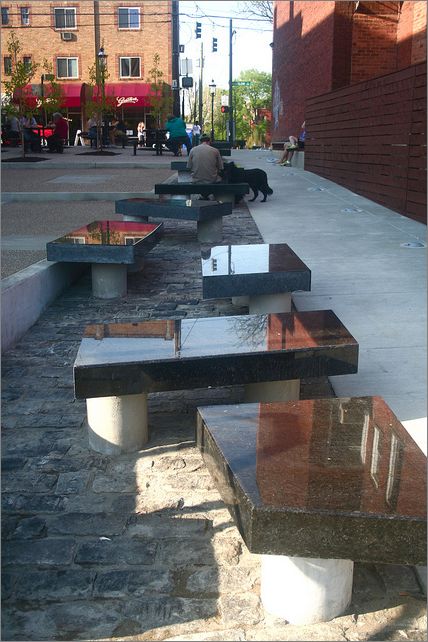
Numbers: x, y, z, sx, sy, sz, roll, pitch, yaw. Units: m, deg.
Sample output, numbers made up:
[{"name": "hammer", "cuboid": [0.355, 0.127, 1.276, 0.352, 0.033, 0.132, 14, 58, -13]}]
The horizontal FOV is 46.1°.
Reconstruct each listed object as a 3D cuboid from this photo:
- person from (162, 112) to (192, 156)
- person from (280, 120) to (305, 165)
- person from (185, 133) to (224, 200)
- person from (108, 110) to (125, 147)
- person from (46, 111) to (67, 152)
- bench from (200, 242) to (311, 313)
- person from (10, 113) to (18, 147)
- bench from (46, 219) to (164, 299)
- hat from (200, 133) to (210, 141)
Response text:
[{"name": "person", "cuboid": [-1.798, -8.580, 23.348, 0.972, 1.901, 0.968, -12, 6, -2]}, {"name": "person", "cuboid": [3.571, -7.719, 21.809, 1.087, 1.994, 0.690, 12, 15, 17]}, {"name": "person", "cuboid": [-0.218, -3.315, 10.883, 0.674, 1.317, 0.750, 1, 3, 2]}, {"name": "person", "cuboid": [-5.444, -10.642, 28.119, 0.829, 1.621, 3.562, -5, 15, -12]}, {"name": "person", "cuboid": [-7.913, -9.415, 25.278, 1.001, 2.082, 0.859, 5, 2, -3]}, {"name": "bench", "cuboid": [0.378, -0.336, 5.009, 0.978, 0.585, 1.336, -2, 15, -1]}, {"name": "person", "cuboid": [-11.154, -10.605, 28.028, 0.429, 1.119, 2.091, -7, 16, -19]}, {"name": "bench", "cuboid": [-1.325, -0.747, 6.292, 1.069, 0.732, 1.414, -1, 15, 4]}, {"name": "hat", "cuboid": [-0.190, -3.894, 10.682, 0.173, 0.061, 0.173, -6, 11, -28]}]
